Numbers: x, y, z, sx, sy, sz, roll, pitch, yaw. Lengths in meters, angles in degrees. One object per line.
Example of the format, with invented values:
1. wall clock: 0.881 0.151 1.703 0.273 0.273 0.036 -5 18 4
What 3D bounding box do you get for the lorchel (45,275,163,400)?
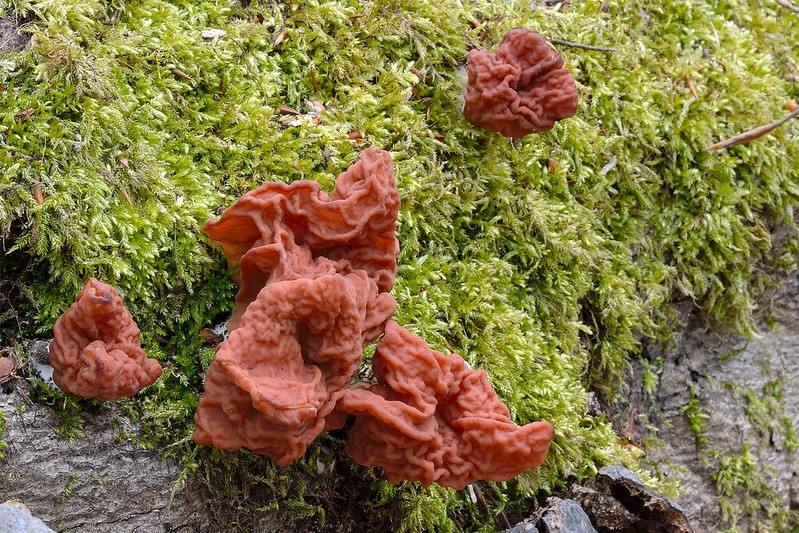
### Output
1. lorchel: -1.917 0.533 4.461 0.651 0.626 0.476 40 44 14
